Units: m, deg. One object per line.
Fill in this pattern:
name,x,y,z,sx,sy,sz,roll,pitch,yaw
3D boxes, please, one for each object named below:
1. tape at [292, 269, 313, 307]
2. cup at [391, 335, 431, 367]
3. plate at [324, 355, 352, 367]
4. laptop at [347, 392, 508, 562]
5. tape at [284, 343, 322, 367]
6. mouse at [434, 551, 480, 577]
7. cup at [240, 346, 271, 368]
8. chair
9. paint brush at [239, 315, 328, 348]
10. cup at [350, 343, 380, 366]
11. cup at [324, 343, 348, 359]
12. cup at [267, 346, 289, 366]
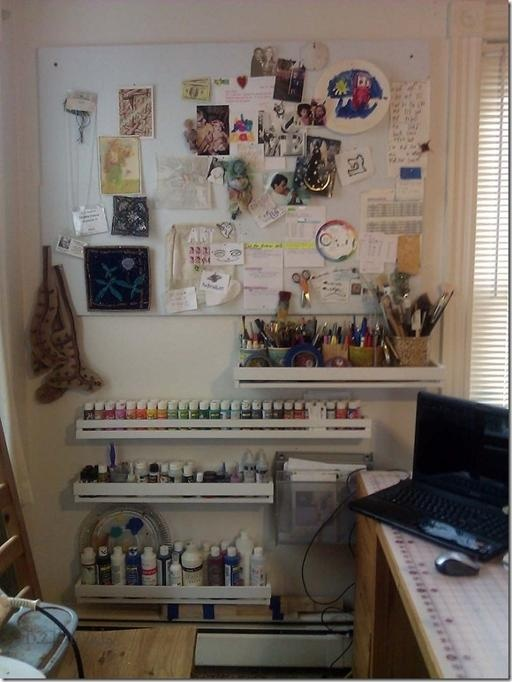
tape,0.158,-0.187,2.095,0.070,0.119,0.025,-2,2,0
cup,0.494,0.031,1.956,0.097,0.070,0.096,0,8,0
plate,0.258,0.066,1.993,0.087,0.026,0.044,1,15,18
laptop,0.484,0.348,1.592,0.344,0.323,0.427,-3,7,-34
tape,0.149,0.048,1.981,0.120,0.072,0.040,-2,14,7
mouse,0.448,0.501,1.384,0.069,0.029,0.052,3,8,12
cup,0.002,0.056,2.000,0.071,0.070,0.075,5,-21,2
chair,-0.391,0.554,2.019,0.822,0.642,0.588,2,-1,-2
paint brush,0.087,-0.032,2.058,0.270,0.091,0.140,-4,14,0
cup,0.351,0.042,1.992,0.071,0.051,0.071,0,2,0
cup,0.257,0.032,2.018,0.084,0.060,0.046,0,-4,3
cup,0.075,0.051,2.006,0.061,0.046,0.057,0,4,0
